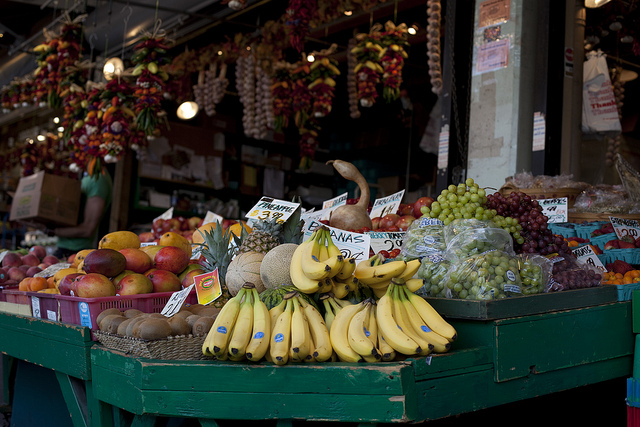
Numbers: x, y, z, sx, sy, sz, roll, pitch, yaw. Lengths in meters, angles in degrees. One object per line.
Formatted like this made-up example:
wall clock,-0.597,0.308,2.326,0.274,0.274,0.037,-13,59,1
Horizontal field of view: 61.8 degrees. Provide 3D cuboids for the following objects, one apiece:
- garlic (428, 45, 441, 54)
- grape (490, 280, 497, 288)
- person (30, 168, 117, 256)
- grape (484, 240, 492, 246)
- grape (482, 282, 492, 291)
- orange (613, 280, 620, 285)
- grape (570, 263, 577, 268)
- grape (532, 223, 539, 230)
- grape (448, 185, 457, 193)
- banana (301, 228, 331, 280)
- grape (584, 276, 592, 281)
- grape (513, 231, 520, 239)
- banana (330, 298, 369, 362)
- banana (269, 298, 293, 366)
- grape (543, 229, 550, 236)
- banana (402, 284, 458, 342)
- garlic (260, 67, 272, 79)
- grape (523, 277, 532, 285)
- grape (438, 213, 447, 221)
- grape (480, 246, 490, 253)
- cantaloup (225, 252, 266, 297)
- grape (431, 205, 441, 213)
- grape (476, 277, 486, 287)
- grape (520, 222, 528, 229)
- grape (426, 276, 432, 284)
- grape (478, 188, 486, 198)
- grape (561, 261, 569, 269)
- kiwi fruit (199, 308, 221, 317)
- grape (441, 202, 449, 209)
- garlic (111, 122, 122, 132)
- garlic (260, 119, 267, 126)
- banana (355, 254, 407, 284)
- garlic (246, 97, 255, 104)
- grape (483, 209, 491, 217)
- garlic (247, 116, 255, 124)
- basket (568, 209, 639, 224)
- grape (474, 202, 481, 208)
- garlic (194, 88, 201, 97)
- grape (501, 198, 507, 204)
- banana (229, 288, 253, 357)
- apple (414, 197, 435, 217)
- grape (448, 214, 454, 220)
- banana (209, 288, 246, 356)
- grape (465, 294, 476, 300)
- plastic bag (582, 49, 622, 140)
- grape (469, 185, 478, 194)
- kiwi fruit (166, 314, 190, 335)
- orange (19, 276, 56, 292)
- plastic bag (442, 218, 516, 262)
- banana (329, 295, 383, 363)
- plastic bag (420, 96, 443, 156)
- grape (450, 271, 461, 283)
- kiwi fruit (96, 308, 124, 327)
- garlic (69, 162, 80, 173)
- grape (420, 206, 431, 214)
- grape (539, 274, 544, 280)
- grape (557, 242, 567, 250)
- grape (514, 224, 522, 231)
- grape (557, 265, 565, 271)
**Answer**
garlic,1.046,-1.485,4.920,0.078,0.084,0.027,13,-7,-33
grape,0.982,0.397,3.026,0.034,0.026,0.026,43,18,26
person,-2.834,-0.014,6.187,0.555,0.792,1.073,2,3,-8
grape,0.988,0.175,3.141,0.032,0.032,0.038,-40,7,-9
grape,0.944,0.413,3.018,0.044,0.039,0.035,-12,4,17
orange,1.989,0.463,3.584,0.024,0.023,0.035,-3,-14,31
grape,1.595,0.332,3.371,0.024,0.025,0.007,-2,-13,10
grape,1.369,0.086,3.394,0.035,0.037,0.043,-9,-19,-11
grape,0.856,-0.163,3.457,0.045,0.044,0.048,-14,40,-29
banana,-0.037,0.229,2.837,0.125,0.213,0.184,-1,4,-23
grape,1.668,0.406,3.328,0.025,0.019,0.032,-8,-1,2
grape,1.244,0.139,3.378,0.038,0.041,0.048,14,29,-3
banana,0.136,0.620,2.752,0.182,0.371,0.098,10,-32,2
banana,-0.199,0.603,2.751,0.111,0.319,0.143,-1,-4,3
grape,1.455,0.126,3.423,0.055,0.040,0.025,3,-5,-40
banana,0.562,0.564,2.887,0.126,0.201,0.549,-19,29,-11
garlic,-0.658,-1.645,6.415,0.066,0.148,0.217,3,-5,-42
grape,1.206,0.394,3.106,0.034,0.029,0.027,-7,-3,19
grape,0.780,0.028,3.405,0.039,0.048,0.040,32,13,-11
grape,0.965,0.210,3.127,0.043,0.036,0.034,-27,23,-34
cantaloup,-0.449,0.351,3.303,0.163,0.313,0.278,-3,-5,20
grape,0.750,-0.022,3.435,0.045,0.040,0.037,1,3,10
grape,0.909,0.384,3.026,0.047,0.038,0.037,-26,-51,22
grape,1.307,0.079,3.413,0.036,0.036,0.035,-24,46,-36
grape,0.642,0.396,3.141,0.012,0.026,0.025,-22,-16,29
grape,1.042,-0.132,3.449,0.055,0.057,0.066,4,16,-21
grape,1.537,0.321,3.341,0.036,0.047,0.026,-37,-15,-16
kiwi fruit,-0.640,0.569,3.049,0.087,0.049,0.047,-4,-11,-15
grape,0.800,-0.047,3.413,0.041,0.037,0.036,-19,6,38
garlic,-1.895,-0.784,4.960,0.079,0.084,0.046,5,-3,-3
garlic,-0.681,-1.073,6.446,0.089,0.074,0.061,0,-4,-2
banana,0.337,0.324,2.936,0.301,0.098,0.160,-17,0,4
garlic,-0.858,-1.361,6.583,0.078,0.076,0.029,-22,12,-27
grape,1.053,0.005,3.369,0.048,0.044,0.025,2,-5,-29
garlic,-0.849,-1.128,6.558,0.075,0.077,0.075,-2,2,-5
basket,2.243,0.034,4.164,0.575,0.098,0.190,0,-4,-3
grape,1.002,-0.049,3.381,0.044,0.030,0.032,2,-5,-32
garlic,-1.673,-1.615,7.291,0.084,0.093,0.026,6,17,15
grape,1.201,-0.075,3.480,0.022,0.040,0.058,-4,-5,38
banana,-0.396,0.577,2.802,0.067,0.307,0.102,13,-36,4
apple,0.794,-0.047,4.025,0.129,0.155,0.254,0,-4,-12
grape,0.828,0.026,3.377,0.027,0.035,0.029,-11,21,8
banana,-0.478,0.559,2.828,0.077,0.354,0.119,12,-42,19
grape,0.855,0.470,3.025,0.065,0.023,0.036,-2,-4,19
plastic bag,2.971,-1.265,5.691,0.374,0.928,0.253,-2,-4,17
grape,0.977,-0.145,3.401,0.041,0.045,0.023,9,-3,17
kiwi fruit,-0.762,0.594,2.874,0.074,0.067,0.108,-47,25,-28
orange,-2.018,0.502,3.836,0.153,0.092,0.155,-5,-6,1
plastic bag,0.940,0.149,3.214,0.442,0.240,0.251,3,1,37
banana,0.142,0.632,2.795,0.179,0.356,0.236,-44,9,10
plastic bag,1.715,-1.326,8.271,0.297,0.911,0.627,-1,-4,10
grape,0.776,0.364,3.069,0.056,0.054,0.030,-43,-2,-5
kiwi fruit,-1.215,0.577,3.114,0.120,0.075,0.097,-27,39,8
garlic,-2.542,-0.470,5.557,0.076,0.100,0.047,10,17,6
grape,0.676,-0.017,3.448,0.048,0.051,0.058,-10,-5,-19
grape,1.313,0.376,3.182,0.014,0.031,0.031,20,57,45
grape,1.546,0.212,3.401,0.042,0.025,0.034,6,24,34
grape,1.256,0.094,3.384,0.032,0.039,0.036,-3,7,-1
grape,1.506,0.340,3.333,0.042,0.034,0.017,0,-4,-7
